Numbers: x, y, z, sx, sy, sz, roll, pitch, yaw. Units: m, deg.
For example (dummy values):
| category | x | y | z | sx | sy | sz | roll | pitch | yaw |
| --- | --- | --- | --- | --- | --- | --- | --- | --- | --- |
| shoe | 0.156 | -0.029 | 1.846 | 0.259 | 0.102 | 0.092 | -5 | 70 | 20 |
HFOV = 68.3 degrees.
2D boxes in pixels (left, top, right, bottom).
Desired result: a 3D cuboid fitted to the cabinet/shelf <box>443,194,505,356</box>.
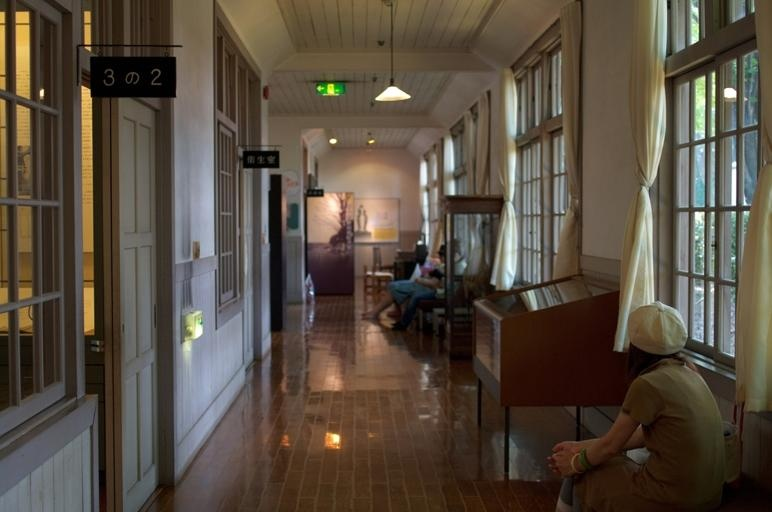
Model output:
| category | x | y | z | sx | sy | sz | roll | pitch | yaw |
| --- | --- | --- | --- | --- | --- | --- | --- | --- | --- |
| cabinet/shelf | 1.043 | 0.083 | 8.264 | 0.722 | 2.044 | 0.920 | -15 | 11 | -30 |

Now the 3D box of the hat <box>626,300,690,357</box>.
| category | x | y | z | sx | sy | sz | roll | pitch | yaw |
| --- | --- | --- | --- | --- | --- | --- | --- | --- | --- |
| hat | 1.624 | 0.383 | 3.394 | 0.326 | 0.200 | 0.467 | 6 | 25 | 24 |

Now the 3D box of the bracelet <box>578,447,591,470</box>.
| category | x | y | z | sx | sy | sz | roll | pitch | yaw |
| --- | --- | --- | --- | --- | --- | --- | --- | --- | --- |
| bracelet | 1.192 | 1.221 | 3.456 | 0.040 | 0.113 | 0.092 | -15 | -26 | 37 |

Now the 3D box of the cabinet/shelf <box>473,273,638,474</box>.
| category | x | y | z | sx | sy | sz | roll | pitch | yaw |
| --- | --- | --- | --- | --- | --- | --- | --- | --- | --- |
| cabinet/shelf | 1.483 | 1.186 | 5.310 | 0.922 | 1.409 | 1.419 | 1 | -12 | 6 |

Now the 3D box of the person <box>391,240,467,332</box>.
| category | x | y | z | sx | sy | sz | roll | pitch | yaw |
| --- | --- | --- | --- | --- | --- | --- | --- | --- | --- |
| person | 0.682 | 0.620 | 10.516 | 1.092 | 2.052 | 0.799 | 16 | -29 | -2 |

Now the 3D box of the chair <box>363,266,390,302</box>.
| category | x | y | z | sx | sy | sz | roll | pitch | yaw |
| --- | --- | --- | --- | --- | --- | --- | --- | --- | --- |
| chair | -0.218 | 0.659 | 13.525 | 0.509 | 0.673 | 0.603 | 3 | -2 | 6 |
